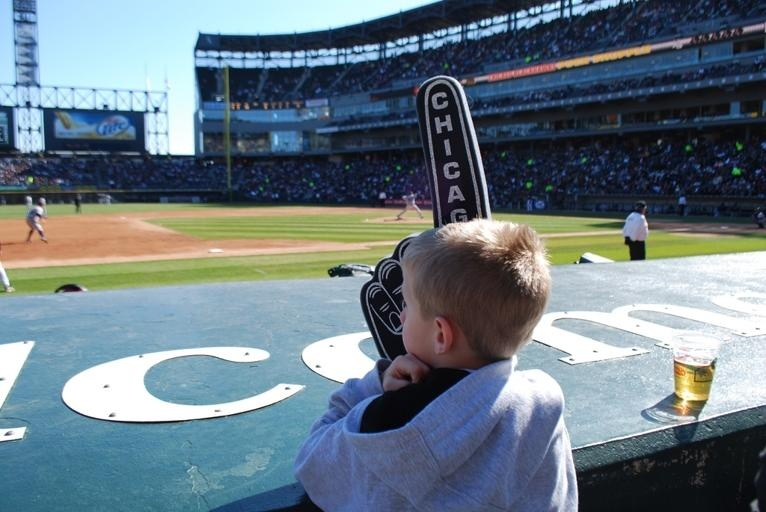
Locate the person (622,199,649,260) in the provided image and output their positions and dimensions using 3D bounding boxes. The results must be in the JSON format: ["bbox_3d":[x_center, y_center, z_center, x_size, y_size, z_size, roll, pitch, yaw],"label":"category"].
[{"bbox_3d":[5.456,-0.531,12.039,0.474,1.348,1.673,5,14,24],"label":"person"}]
